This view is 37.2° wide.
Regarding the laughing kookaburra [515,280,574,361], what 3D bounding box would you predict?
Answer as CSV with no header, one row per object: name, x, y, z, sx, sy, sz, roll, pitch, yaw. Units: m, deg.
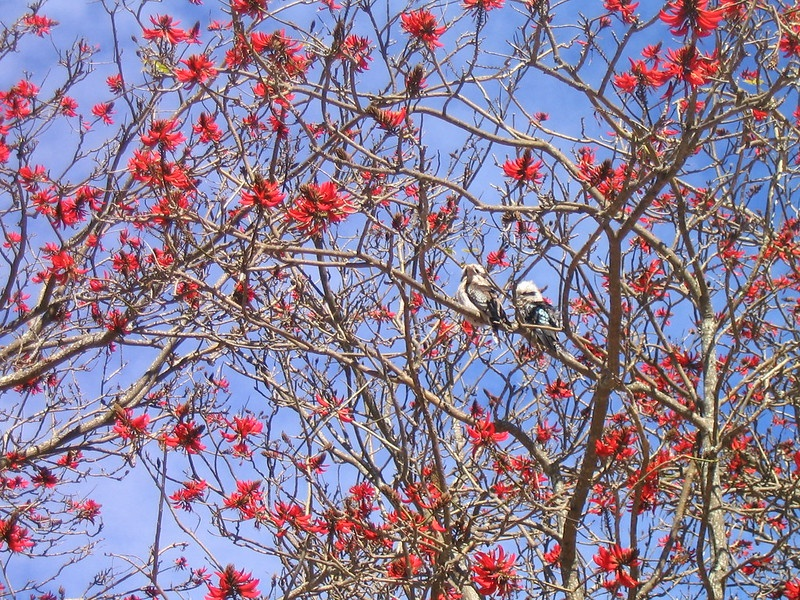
laughing kookaburra,1.012,0.182,8.493,0.230,0.485,0.511,-42,-68,13
